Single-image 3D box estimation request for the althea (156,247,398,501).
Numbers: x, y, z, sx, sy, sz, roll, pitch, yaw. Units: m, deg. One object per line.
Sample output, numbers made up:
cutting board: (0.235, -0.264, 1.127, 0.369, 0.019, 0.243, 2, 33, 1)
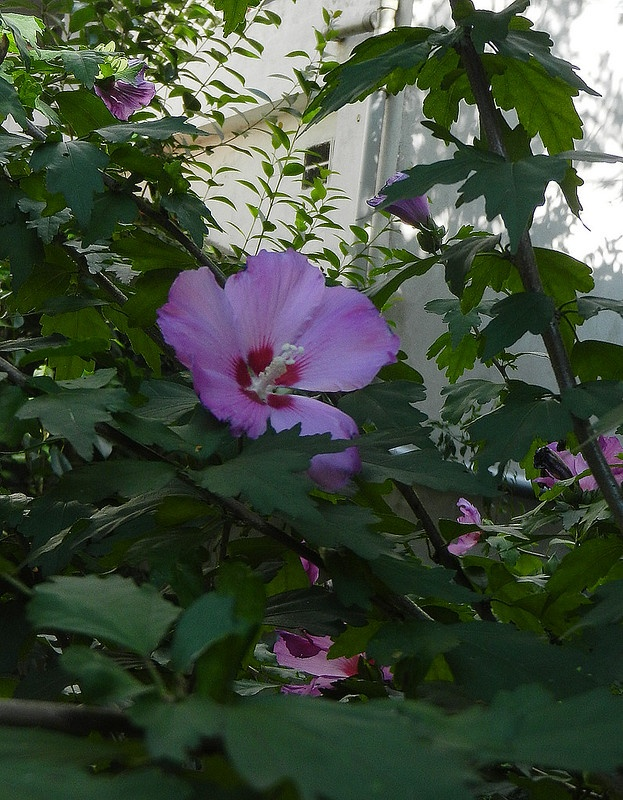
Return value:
althea: (-0.012, -0.028, 0.383, 0.083, 0.154, 0.118, -14, -33, 30)
